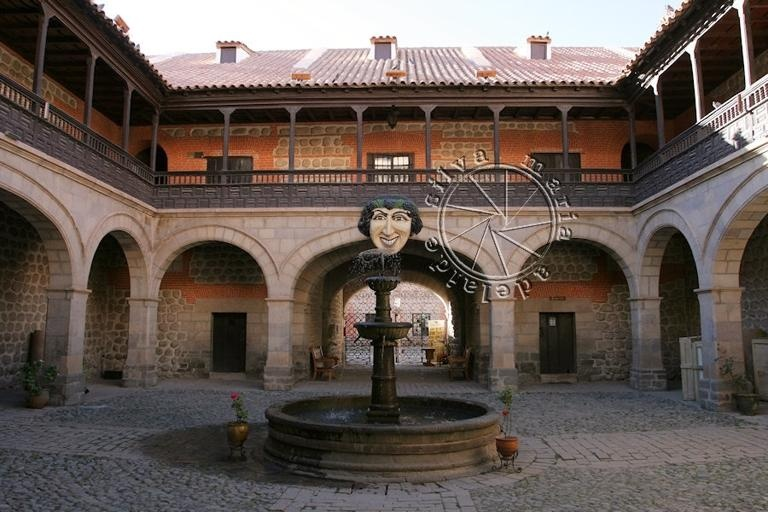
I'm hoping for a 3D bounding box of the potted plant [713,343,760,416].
[{"bbox_3d":[7.645,2.697,13.292,0.772,1.356,0.442,3,4,43],"label":"potted plant"}]

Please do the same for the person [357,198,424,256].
[{"bbox_3d":[0.106,-0.589,11.009,1.264,0.975,0.479,2,-5,10],"label":"person"}]

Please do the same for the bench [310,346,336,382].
[{"bbox_3d":[-1.839,3.277,18.584,0.991,1.161,0.967,-1,-5,12],"label":"bench"}]

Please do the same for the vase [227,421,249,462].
[{"bbox_3d":[-2.473,3.085,10.372,0.293,0.624,0.463,0,3,-14],"label":"vase"}]

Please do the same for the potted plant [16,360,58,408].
[{"bbox_3d":[-7.594,2.789,13.441,0.660,0.971,0.617,1,3,20],"label":"potted plant"}]

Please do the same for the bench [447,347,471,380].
[{"bbox_3d":[2.340,3.346,18.999,0.973,1.138,0.948,1,-8,-1],"label":"bench"}]

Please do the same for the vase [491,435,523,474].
[{"bbox_3d":[2.051,3.221,10.123,0.393,0.505,0.481,1,3,11],"label":"vase"}]
